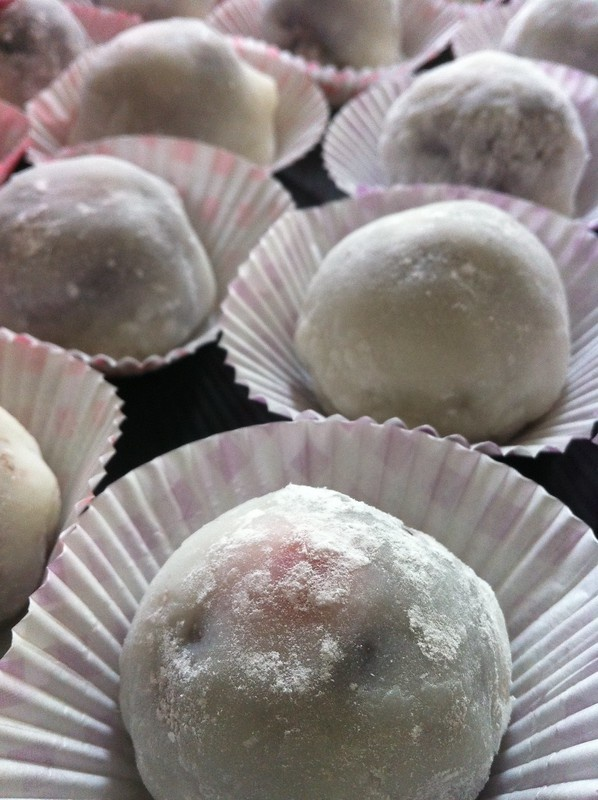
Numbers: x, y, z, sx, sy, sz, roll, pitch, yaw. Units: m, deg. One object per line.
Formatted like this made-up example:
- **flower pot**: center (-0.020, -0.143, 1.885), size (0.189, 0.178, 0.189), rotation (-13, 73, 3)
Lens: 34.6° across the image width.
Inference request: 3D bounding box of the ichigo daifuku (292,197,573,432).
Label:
- **ichigo daifuku**: center (0.159, -0.106, 1.160), size (0.331, 0.227, 0.335), rotation (4, 21, 14)
